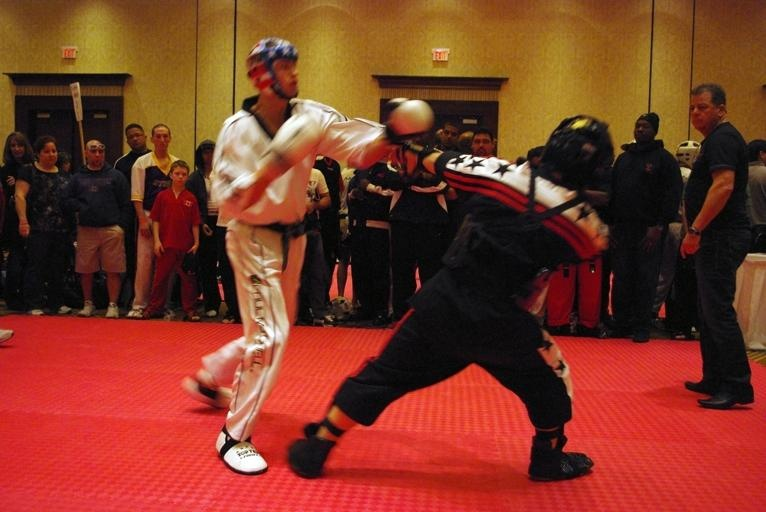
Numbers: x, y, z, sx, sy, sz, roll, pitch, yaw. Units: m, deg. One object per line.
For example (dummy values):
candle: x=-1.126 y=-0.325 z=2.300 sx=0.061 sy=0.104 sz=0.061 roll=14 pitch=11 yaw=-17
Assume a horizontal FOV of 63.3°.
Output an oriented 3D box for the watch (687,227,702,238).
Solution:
watch: x=2.360 y=-0.186 z=4.715 sx=0.084 sy=0.061 sz=0.090 roll=12 pitch=3 yaw=-23

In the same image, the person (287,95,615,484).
person: x=0.507 y=0.273 z=3.488 sx=1.579 sy=2.103 sz=0.402 roll=0 pitch=13 yaw=-6

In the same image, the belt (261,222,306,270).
belt: x=-0.568 y=-0.057 z=3.759 sx=0.277 sy=0.316 sz=0.261 roll=0 pitch=-1 yaw=20

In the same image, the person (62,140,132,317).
person: x=-3.232 y=-0.311 z=7.035 sx=0.687 sy=1.942 sz=0.650 roll=0 pitch=13 yaw=-7

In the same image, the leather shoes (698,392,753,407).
leather shoes: x=2.561 y=1.086 z=4.708 sx=0.399 sy=0.153 sz=0.144 roll=2 pitch=-5 yaw=1

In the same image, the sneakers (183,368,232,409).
sneakers: x=-1.192 y=0.918 z=4.270 sx=0.290 sy=0.126 sz=0.268 roll=14 pitch=-22 yaw=-28

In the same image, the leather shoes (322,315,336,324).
leather shoes: x=-0.579 y=0.699 z=6.769 sx=0.134 sy=0.056 sz=0.064 roll=-4 pitch=-5 yaw=32

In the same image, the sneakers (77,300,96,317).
sneakers: x=-3.392 y=0.611 z=7.149 sx=0.117 sy=0.123 sz=0.293 roll=1 pitch=-7 yaw=-4

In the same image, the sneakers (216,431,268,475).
sneakers: x=-0.823 y=1.160 z=3.675 sx=0.171 sy=0.122 sz=0.341 roll=-3 pitch=5 yaw=-41

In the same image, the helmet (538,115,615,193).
helmet: x=1.035 y=-0.582 z=3.517 sx=0.328 sy=0.388 sz=0.434 roll=19 pitch=5 yaw=-13

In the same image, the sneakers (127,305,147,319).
sneakers: x=-2.751 y=0.637 z=7.004 sx=0.134 sy=0.085 sz=0.177 roll=2 pitch=-4 yaw=-5

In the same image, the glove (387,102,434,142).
glove: x=0.186 y=-0.751 z=3.630 sx=0.251 sy=0.189 sz=0.251 roll=4 pitch=-27 yaw=24

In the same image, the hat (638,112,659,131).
hat: x=2.727 y=-1.372 z=6.356 sx=0.164 sy=0.184 sz=0.467 roll=8 pitch=13 yaw=28

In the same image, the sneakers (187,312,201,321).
sneakers: x=-2.107 y=0.674 z=6.937 sx=0.089 sy=0.034 sz=0.121 roll=8 pitch=6 yaw=15

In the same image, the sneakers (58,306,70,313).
sneakers: x=-3.680 y=0.625 z=7.192 sx=0.148 sy=0.067 sz=0.065 roll=-2 pitch=0 yaw=37

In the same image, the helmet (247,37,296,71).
helmet: x=-0.658 y=-1.205 z=3.691 sx=0.240 sy=0.142 sz=0.186 roll=-13 pitch=22 yaw=-10
